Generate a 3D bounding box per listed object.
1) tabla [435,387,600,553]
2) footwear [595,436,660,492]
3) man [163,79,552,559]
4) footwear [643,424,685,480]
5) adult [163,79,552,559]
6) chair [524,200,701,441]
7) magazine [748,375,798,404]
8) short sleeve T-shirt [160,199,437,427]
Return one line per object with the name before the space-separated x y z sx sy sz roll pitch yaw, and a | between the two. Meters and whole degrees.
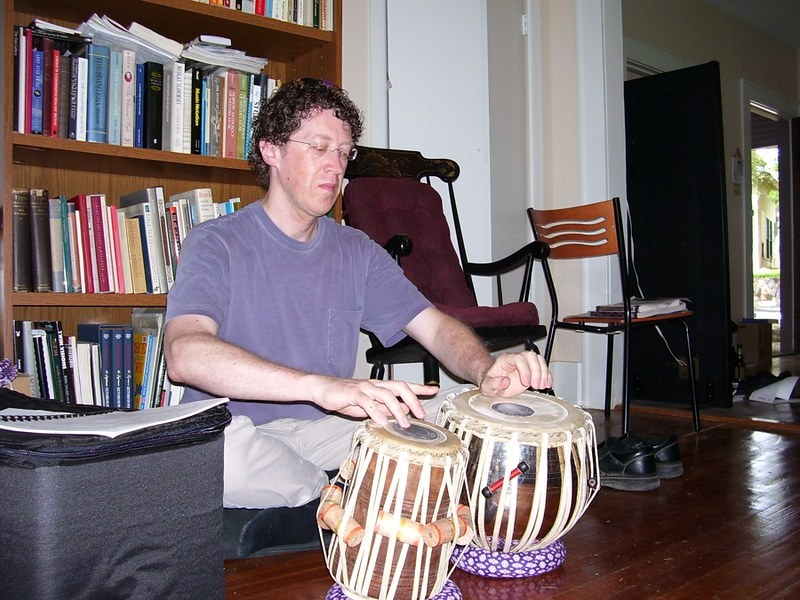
tabla | 0.269 0.358 1.610 0.347 0.278 0.344 1 -1 2
footwear | 0.705 0.518 2.195 0.129 0.092 0.219 0 0 -31
man | -0.140 -0.043 2.114 1.109 1.252 1.146 0 -4 43
footwear | 0.880 0.523 2.314 0.091 0.100 0.233 -4 2 -20
adult | -0.108 -0.031 2.109 1.109 1.252 1.146 0 -4 43
chair | 0.934 0.095 3.073 0.717 0.968 0.744 2 1 28
magazine | 2.007 0.495 3.691 0.192 0.057 0.145 -15 16 7
short sleeve T-shirt | -0.302 0.037 1.842 0.673 0.511 0.282 7 -12 -32
